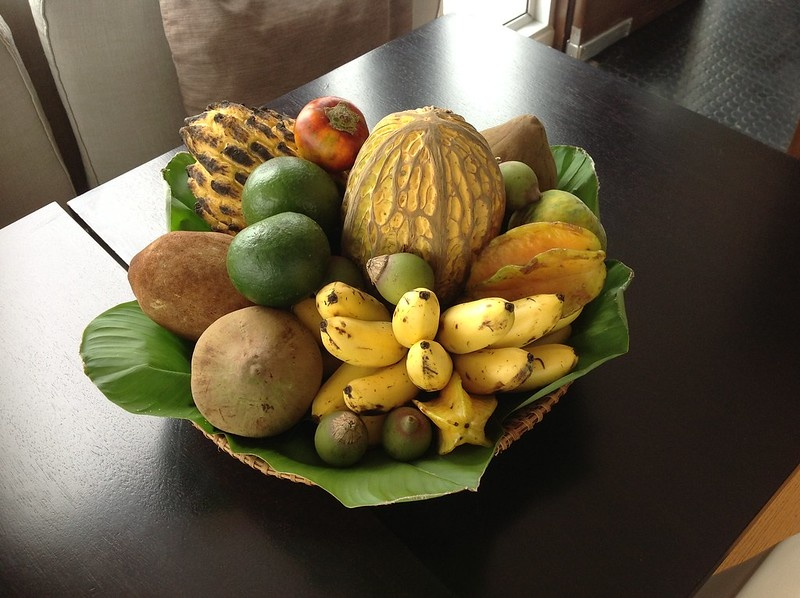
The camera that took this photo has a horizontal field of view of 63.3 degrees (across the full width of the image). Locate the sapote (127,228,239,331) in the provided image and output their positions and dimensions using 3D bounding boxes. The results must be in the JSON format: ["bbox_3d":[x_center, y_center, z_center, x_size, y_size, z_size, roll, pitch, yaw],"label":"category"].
[{"bbox_3d":[-0.224,-0.013,0.761,0.118,0.108,0.119,30,46,35],"label":"sapote"}]

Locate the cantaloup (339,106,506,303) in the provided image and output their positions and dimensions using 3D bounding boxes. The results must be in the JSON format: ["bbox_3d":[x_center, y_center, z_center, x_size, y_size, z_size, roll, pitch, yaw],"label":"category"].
[{"bbox_3d":[0.025,-0.107,0.752,0.154,0.190,0.152,22,50,21],"label":"cantaloup"}]

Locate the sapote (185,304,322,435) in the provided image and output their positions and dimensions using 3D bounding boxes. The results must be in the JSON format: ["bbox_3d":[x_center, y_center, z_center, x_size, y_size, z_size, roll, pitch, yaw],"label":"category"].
[{"bbox_3d":[-0.143,0.074,0.644,0.119,0.045,0.124,-39,89,-7],"label":"sapote"}]
